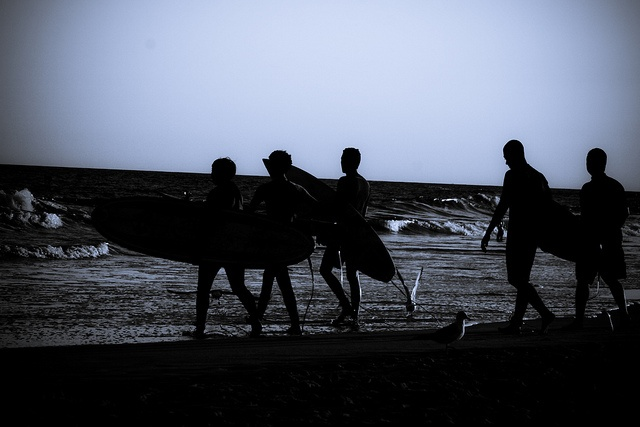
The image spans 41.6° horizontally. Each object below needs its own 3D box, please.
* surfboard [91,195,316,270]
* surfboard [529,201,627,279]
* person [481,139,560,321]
[{"bbox_3d":[-1.396,0.251,9.901,3.089,0.874,0.394,6,21,-16],"label":"surfboard"},{"bbox_3d":[3.581,0.366,10.895,1.081,0.455,1.757,14,-4,5],"label":"surfboard"},{"bbox_3d":[2.493,0.281,10.548,0.880,2.401,0.650,2,9,14],"label":"person"}]
